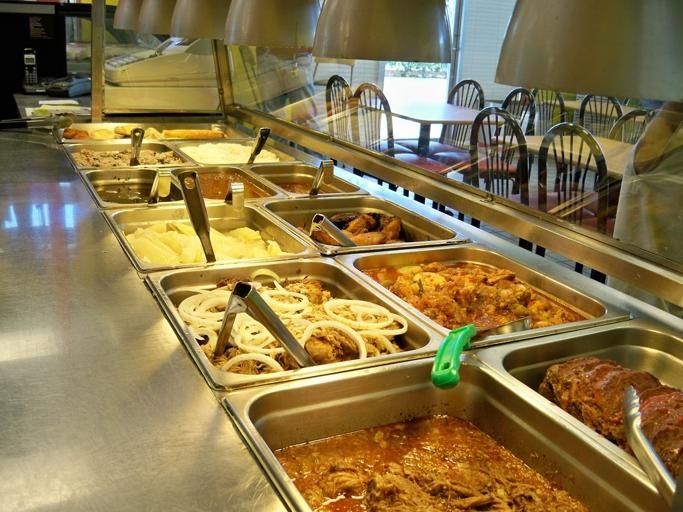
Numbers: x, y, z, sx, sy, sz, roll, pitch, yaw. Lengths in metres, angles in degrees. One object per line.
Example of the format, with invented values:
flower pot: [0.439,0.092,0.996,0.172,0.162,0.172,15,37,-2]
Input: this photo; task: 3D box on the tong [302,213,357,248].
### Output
tong: [-0.035,-0.093,1.719,0.161,0.151,0.156,-4,22,-6]

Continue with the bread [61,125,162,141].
bread: [-1.573,-0.830,3.124,0.519,0.064,0.327,-6,23,-21]

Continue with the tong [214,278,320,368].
tong: [-0.220,0.148,1.056,0.182,0.260,0.044,-17,54,-21]

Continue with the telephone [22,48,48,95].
telephone: [-3.615,-2.146,5.353,0.219,0.504,0.577,-15,25,-28]
